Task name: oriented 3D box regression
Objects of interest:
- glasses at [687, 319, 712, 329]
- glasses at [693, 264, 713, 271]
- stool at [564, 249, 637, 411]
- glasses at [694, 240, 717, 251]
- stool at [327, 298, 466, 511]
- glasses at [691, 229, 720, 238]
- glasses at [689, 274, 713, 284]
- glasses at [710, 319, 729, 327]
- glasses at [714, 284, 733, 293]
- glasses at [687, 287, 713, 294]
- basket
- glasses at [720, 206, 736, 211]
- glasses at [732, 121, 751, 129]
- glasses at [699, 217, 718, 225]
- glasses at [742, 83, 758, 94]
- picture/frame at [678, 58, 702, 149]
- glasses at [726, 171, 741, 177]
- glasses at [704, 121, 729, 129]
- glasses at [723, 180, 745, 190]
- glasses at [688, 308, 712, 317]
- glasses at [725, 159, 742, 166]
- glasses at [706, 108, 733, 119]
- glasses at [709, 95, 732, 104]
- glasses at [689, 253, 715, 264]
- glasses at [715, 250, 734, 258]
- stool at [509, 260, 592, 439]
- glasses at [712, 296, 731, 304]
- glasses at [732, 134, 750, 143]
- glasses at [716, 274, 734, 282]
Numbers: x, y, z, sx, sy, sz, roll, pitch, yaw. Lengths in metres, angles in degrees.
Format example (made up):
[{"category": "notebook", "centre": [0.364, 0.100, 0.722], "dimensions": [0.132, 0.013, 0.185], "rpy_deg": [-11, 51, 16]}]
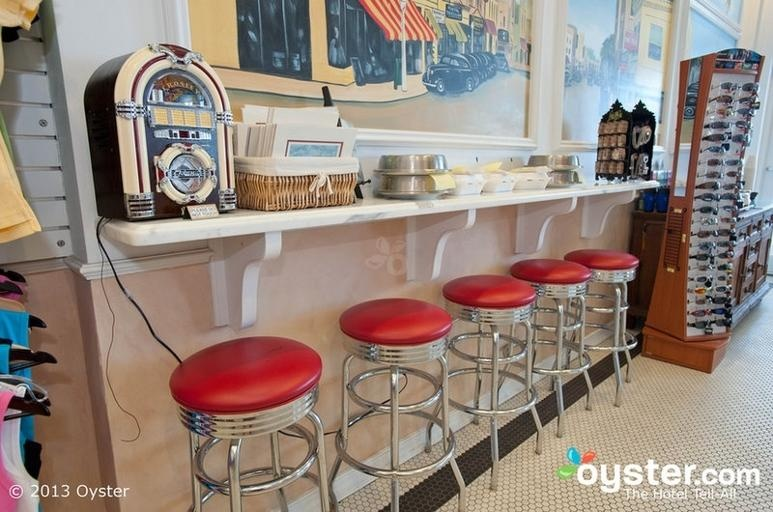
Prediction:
[{"category": "glasses", "centre": [2.388, 0.519, 3.991], "dimensions": [0.200, 0.101, 0.038], "rpy_deg": [-1, 18, 4]}, {"category": "glasses", "centre": [2.370, 0.082, 3.941], "dimensions": [0.102, 0.043, 0.057], "rpy_deg": [-9, 33, 9]}, {"category": "stool", "centre": [1.514, 0.477, 3.795], "dimensions": [0.568, 0.890, 0.561], "rpy_deg": [1, 6, 9]}, {"category": "glasses", "centre": [2.359, -0.075, 3.901], "dimensions": [0.153, 0.079, 0.028], "rpy_deg": [-1, 18, 3]}, {"category": "stool", "centre": [0.051, 0.799, 2.683], "dimensions": [0.744, 1.111, 0.806], "rpy_deg": [-4, 17, -6]}, {"category": "glasses", "centre": [2.353, -0.163, 3.885], "dimensions": [0.197, 0.066, 0.031], "rpy_deg": [-3, 18, -4]}, {"category": "glasses", "centre": [2.367, 0.173, 3.964], "dimensions": [0.089, 0.047, 0.116], "rpy_deg": [2, 0, -44]}, {"category": "glasses", "centre": [2.535, 0.509, 3.994], "dimensions": [0.103, 0.030, 0.067], "rpy_deg": [0, 4, 7]}, {"category": "glasses", "centre": [2.534, 0.252, 3.977], "dimensions": [0.127, 0.059, 0.025], "rpy_deg": [-3, 18, -3]}, {"category": "glasses", "centre": [2.369, 0.259, 3.972], "dimensions": [0.136, 0.044, 0.033], "rpy_deg": [-7, 9, 9]}, {"category": "basket", "centre": [-0.355, -0.290, 2.219], "dimensions": [0.270, 0.142, 0.367], "rpy_deg": [7, 10, 42]}, {"category": "glasses", "centre": [2.499, -0.345, 3.857], "dimensions": [0.104, 0.041, 0.031], "rpy_deg": [-1, 17, 4]}, {"category": "glasses", "centre": [2.528, -0.933, 3.747], "dimensions": [0.175, 0.055, 0.063], "rpy_deg": [5, 15, 11]}, {"category": "glasses", "centre": [2.358, -0.254, 3.853], "dimensions": [0.102, 0.074, 0.020], "rpy_deg": [8, 21, 32]}, {"category": "glasses", "centre": [2.551, -1.181, 3.691], "dimensions": [0.086, 0.082, 0.085], "rpy_deg": [-5, 19, 4]}, {"category": "picture/frame", "centre": [2.179, -1.116, 3.785], "dimensions": [0.104, 0.589, 0.118], "rpy_deg": [6, 20, 25]}, {"category": "glasses", "centre": [2.536, -0.598, 3.844], "dimensions": [0.132, 0.042, 0.019], "rpy_deg": [-5, 18, -10]}, {"category": "glasses", "centre": [2.342, -0.930, 3.729], "dimensions": [0.108, 0.042, 0.067], "rpy_deg": [-3, 16, -10]}, {"category": "glasses", "centre": [2.554, -0.523, 3.888], "dimensions": [0.154, 0.084, 0.064], "rpy_deg": [3, 8, 9]}, {"category": "glasses", "centre": [2.375, 0.428, 3.994], "dimensions": [0.175, 0.064, 0.034], "rpy_deg": [-2, 18, -1]}, {"category": "glasses", "centre": [2.514, -0.679, 3.819], "dimensions": [0.148, 0.049, 0.025], "rpy_deg": [-7, 18, -17]}, {"category": "glasses", "centre": [2.342, -0.998, 3.717], "dimensions": [0.170, 0.084, 0.024], "rpy_deg": [-2, 18, 1]}, {"category": "glasses", "centre": [2.355, -1.095, 3.701], "dimensions": [0.154, 0.083, 0.029], "rpy_deg": [-3, 18, -2]}, {"category": "glasses", "centre": [2.355, 0.028, 3.920], "dimensions": [0.194, 0.082, 0.032], "rpy_deg": [-3, 18, -1]}, {"category": "glasses", "centre": [2.518, -0.012, 3.931], "dimensions": [0.105, 0.041, 0.074], "rpy_deg": [-3, 2, 19]}, {"category": "stool", "centre": [1.068, 0.567, 3.496], "dimensions": [0.631, 1.034, 0.616], "rpy_deg": [1, 11, 6]}, {"category": "glasses", "centre": [2.536, 0.332, 3.990], "dimensions": [0.097, 0.037, 0.074], "rpy_deg": [-2, 1, 35]}, {"category": "glasses", "centre": [2.534, -0.839, 3.762], "dimensions": [0.105, 0.063, 0.031], "rpy_deg": [12, 26, 12]}, {"category": "glasses", "centre": [2.561, 0.179, 3.980], "dimensions": [0.099, 0.043, 0.064], "rpy_deg": [8, 28, 44]}]
